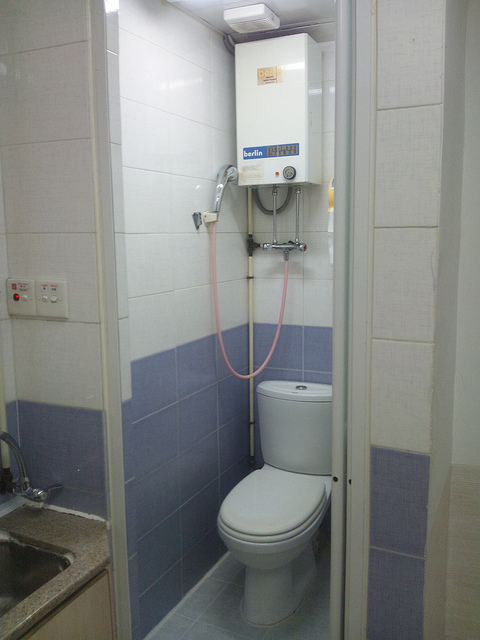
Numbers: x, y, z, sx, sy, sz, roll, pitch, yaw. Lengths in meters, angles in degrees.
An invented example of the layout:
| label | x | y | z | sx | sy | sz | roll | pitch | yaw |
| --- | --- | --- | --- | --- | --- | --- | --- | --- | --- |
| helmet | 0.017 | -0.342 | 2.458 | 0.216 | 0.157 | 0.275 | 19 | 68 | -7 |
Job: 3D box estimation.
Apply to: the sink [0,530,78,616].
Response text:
| label | x | y | z | sx | sy | sz | roll | pitch | yaw |
| --- | --- | --- | --- | --- | --- | --- | --- | --- | --- |
| sink | -0.483 | 0.589 | 1.346 | 0.149 | 0.166 | 0.210 | 3 | 0 | 32 |

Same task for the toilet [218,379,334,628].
| label | x | y | z | sx | sy | sz | roll | pitch | yaw |
| --- | --- | --- | --- | --- | --- | --- | --- | --- | --- |
| toilet | 0.153 | 0.623 | 1.855 | 0.274 | 0.704 | 0.542 | 5 | 14 | 26 |

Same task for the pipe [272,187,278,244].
| label | x | y | z | sx | sy | sz | roll | pitch | yaw |
| --- | --- | --- | --- | --- | --- | --- | --- | --- | --- |
| pipe | 0.128 | -0.385 | 1.927 | 0.021 | 0.198 | 0.076 | -2 | 11 | 5 |

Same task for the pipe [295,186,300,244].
| label | x | y | z | sx | sy | sz | roll | pitch | yaw |
| --- | --- | --- | --- | --- | --- | --- | --- | --- | --- |
| pipe | 0.203 | -0.374 | 1.872 | 0.017 | 0.200 | 0.042 | -2 | 10 | 0 |
